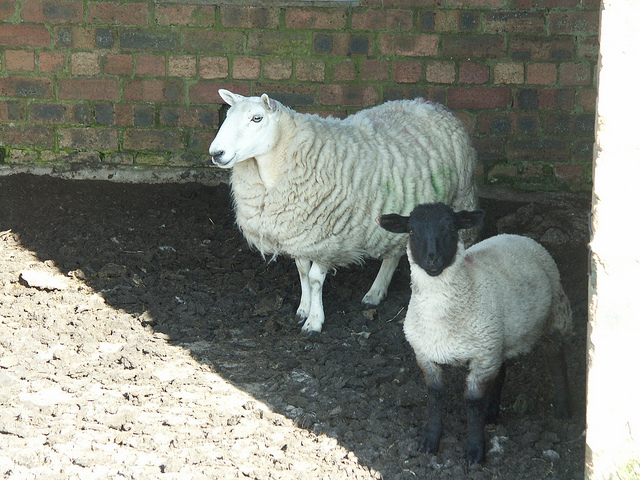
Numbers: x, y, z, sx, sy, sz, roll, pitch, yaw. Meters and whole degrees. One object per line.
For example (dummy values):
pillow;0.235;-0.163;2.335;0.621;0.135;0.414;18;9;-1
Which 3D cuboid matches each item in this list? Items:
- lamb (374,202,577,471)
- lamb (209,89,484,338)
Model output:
lamb;0.981;0.527;6.307;1.114;1.522;0.671;-3;12;-27
lamb;0.286;-0.302;7.510;2.124;1.900;1.094;-12;24;-24
